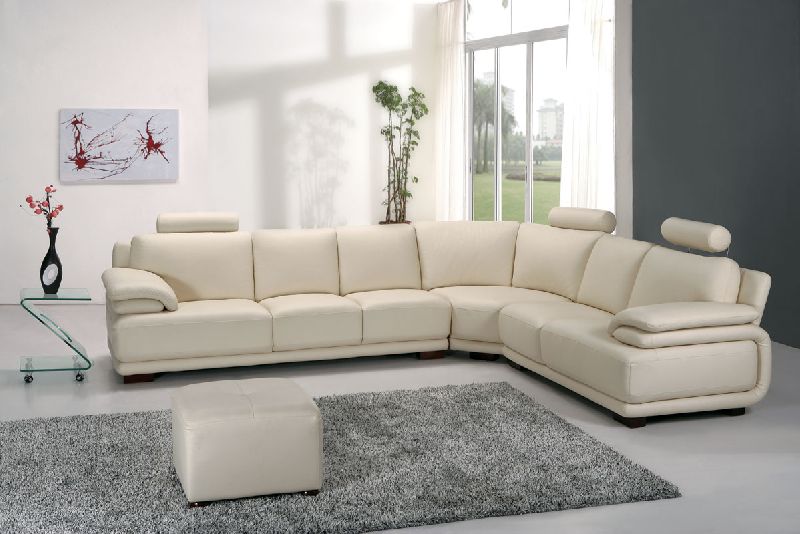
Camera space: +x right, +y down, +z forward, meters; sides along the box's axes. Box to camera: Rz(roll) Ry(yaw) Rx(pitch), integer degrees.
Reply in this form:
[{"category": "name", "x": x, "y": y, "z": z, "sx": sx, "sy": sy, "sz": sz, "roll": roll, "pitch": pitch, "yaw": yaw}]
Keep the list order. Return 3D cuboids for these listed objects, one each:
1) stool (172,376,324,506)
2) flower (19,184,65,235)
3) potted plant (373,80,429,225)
[{"category": "stool", "x": -0.827, "y": 0.850, "z": 3.317, "sx": 0.626, "sy": 0.411, "sz": 0.601, "roll": -1, "pitch": 3, "yaw": -21}, {"category": "flower", "x": -3.516, "y": -0.564, "z": 6.132, "sx": 0.274, "sy": 0.398, "sz": 0.233, "roll": -1, "pitch": 4, "yaw": -18}, {"category": "potted plant", "x": -0.001, "y": -1.482, "z": 7.915, "sx": 0.686, "sy": 1.802, "sz": 0.581, "roll": -1, "pitch": 13, "yaw": -5}]
